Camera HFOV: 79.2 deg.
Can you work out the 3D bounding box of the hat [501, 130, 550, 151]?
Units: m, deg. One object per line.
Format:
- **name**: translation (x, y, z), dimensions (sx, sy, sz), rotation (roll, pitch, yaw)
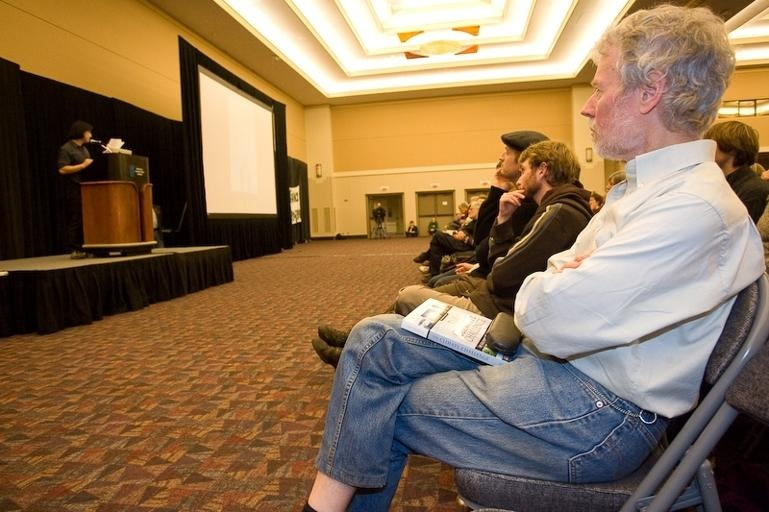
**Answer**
- **hat**: translation (0.954, -0.817, 3.242), dimensions (0.225, 0.068, 0.204), rotation (-7, 23, -7)
